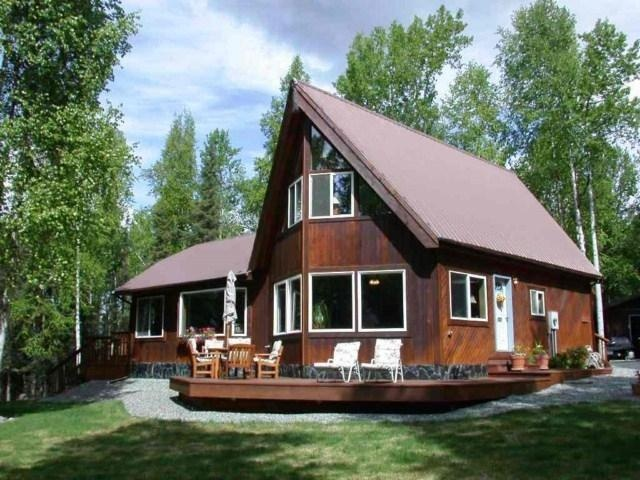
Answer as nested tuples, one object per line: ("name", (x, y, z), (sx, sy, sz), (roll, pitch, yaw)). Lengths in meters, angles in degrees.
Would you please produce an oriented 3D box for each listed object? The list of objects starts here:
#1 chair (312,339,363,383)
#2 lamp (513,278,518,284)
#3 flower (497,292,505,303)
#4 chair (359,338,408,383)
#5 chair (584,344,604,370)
("chair", (0.637, 3.733, 16.175), (0.852, 1.233, 1.326), (-1, 0, 21))
("lamp", (7.336, 1.549, 20.452), (0.062, 0.256, 0.478), (1, 3, 40))
("flower", (6.538, 2.130, 19.758), (0.206, 0.415, 0.600), (0, 3, 35))
("chair", (1.873, 3.564, 16.022), (0.928, 1.318, 1.282), (-2, -7, 21))
("chair", (10.742, 4.631, 21.526), (0.697, 0.404, 0.988), (-12, -30, 41))
